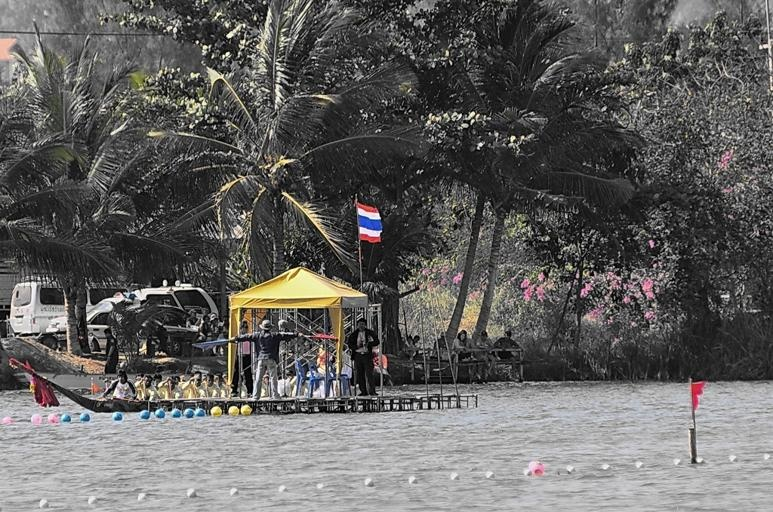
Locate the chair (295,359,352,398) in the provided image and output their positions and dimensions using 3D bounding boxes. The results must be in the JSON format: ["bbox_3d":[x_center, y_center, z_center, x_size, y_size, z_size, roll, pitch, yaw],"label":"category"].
[{"bbox_3d":[-1.802,3.617,35.110,1.547,1.046,1.165,2,-10,-5],"label":"chair"}]

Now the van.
[{"bbox_3d":[-13.341,1.919,50.222,2.162,2.755,5.664,-3,-4,24],"label":"van"}]

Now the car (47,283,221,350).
[{"bbox_3d":[-9.509,2.152,48.352,5.159,2.738,3.105,1,-1,-22],"label":"car"}]

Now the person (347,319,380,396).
[{"bbox_3d":[-0.681,2.942,35.536,0.710,2.270,0.915,0,-2,-11],"label":"person"}]
